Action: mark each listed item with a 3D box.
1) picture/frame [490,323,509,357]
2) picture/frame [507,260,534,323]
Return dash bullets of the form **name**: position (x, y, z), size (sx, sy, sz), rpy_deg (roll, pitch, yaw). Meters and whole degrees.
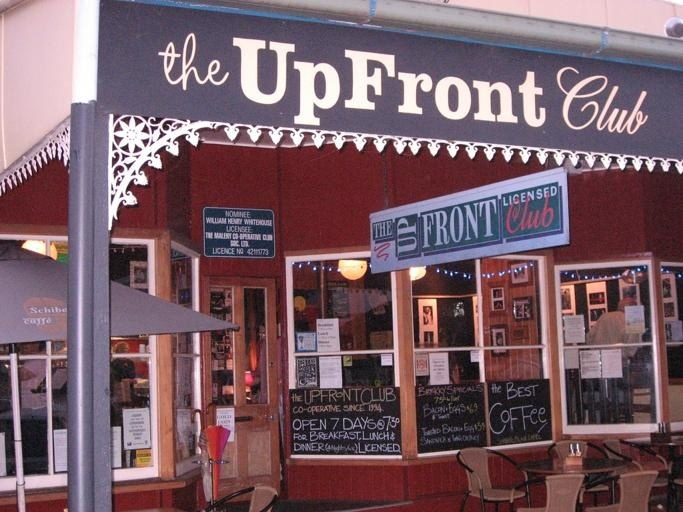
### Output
- **picture/frame**: position (1.881, 1.023, 9.626), size (0.345, 0.535, 0.037), rpy_deg (2, -7, -28)
- **picture/frame**: position (2.218, 0.433, 9.882), size (0.290, 0.699, 0.062), rpy_deg (2, -12, -28)
